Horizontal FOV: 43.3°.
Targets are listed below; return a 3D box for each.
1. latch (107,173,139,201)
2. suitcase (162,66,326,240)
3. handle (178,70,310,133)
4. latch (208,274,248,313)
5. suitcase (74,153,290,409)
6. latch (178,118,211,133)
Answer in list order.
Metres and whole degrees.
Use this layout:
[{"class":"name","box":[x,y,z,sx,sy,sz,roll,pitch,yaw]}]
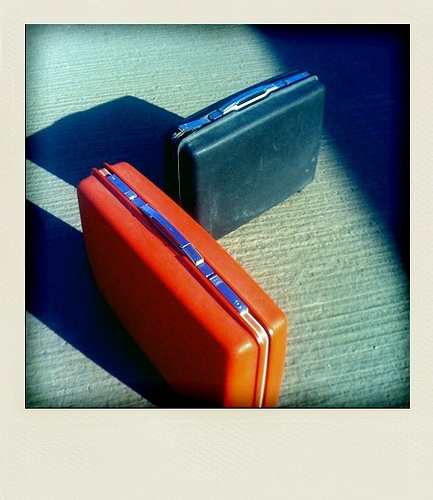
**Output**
[{"class":"latch","box":[-0.169,-0.115,1.012,0.026,0.019,0.092,-34,66,-21]},{"class":"suitcase","box":[0.068,-0.197,1.209,0.424,0.371,0.138,-36,61,-22]},{"class":"handle","box":[0.059,-0.290,1.070,0.339,0.045,0.034,-16,26,30]},{"class":"latch","box":[0.017,0.069,0.854,0.019,0.024,0.076,-37,51,-20]},{"class":"suitcase","box":[-0.072,0.066,1.001,0.150,0.304,0.446,-33,60,-25]},{"class":"latch","box":[-0.043,-0.245,1.073,0.051,0.010,0.029,-17,43,-25]}]
